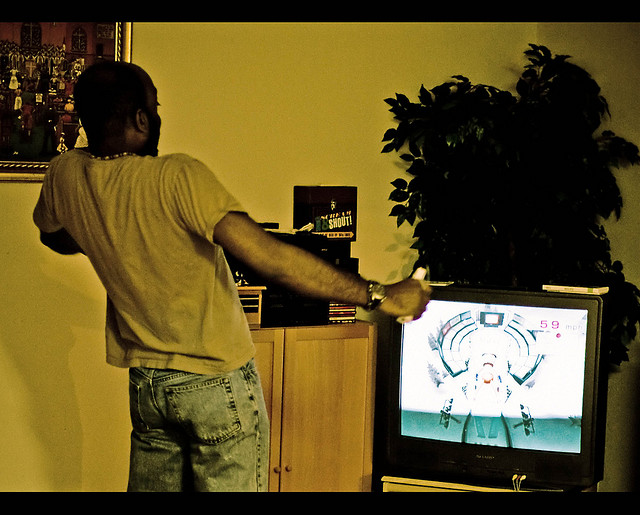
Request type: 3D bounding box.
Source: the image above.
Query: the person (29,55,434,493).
[{"bbox_3d":[-0.357,0.090,2.159,1.104,0.848,0.506,3,-2,6],"label":"person"}]

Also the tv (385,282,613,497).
[{"bbox_3d":[0.633,0.457,2.999,0.805,0.699,0.434,3,2,0],"label":"tv"}]
